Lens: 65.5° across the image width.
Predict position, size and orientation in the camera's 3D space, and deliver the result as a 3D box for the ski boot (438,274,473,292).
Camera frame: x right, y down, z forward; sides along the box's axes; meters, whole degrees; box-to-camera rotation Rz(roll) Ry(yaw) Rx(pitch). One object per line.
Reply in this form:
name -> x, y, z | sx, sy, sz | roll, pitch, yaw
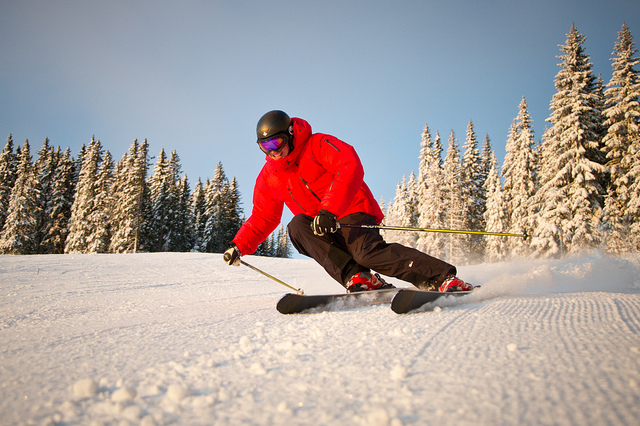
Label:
ski boot -> 2.670, 1.436, 9.860 | 0.675, 0.314, 0.264 | -6, 30, 11
